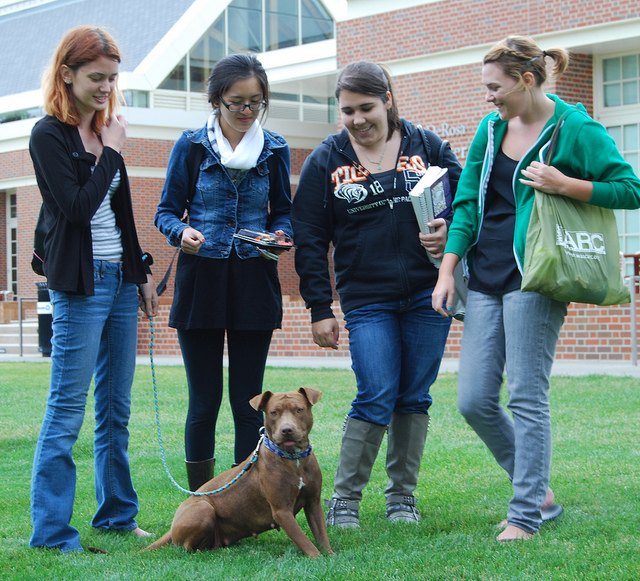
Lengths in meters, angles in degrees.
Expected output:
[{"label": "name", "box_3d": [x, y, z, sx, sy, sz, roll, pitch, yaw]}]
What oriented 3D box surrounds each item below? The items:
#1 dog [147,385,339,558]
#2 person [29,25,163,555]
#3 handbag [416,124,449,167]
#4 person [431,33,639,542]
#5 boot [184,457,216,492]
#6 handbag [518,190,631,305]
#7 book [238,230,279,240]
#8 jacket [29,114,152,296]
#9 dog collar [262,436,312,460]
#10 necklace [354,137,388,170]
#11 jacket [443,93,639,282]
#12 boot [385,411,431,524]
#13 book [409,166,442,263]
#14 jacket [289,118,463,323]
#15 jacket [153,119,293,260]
[{"label": "dog", "box_3d": [-0.324, 0.935, 4.287, 0.909, 0.861, 0.583, 0, 3, 6]}, {"label": "person", "box_3d": [-1.196, -0.014, 4.353, 0.401, 2.678, 0.710, 2, 4, 40]}, {"label": "handbag", "box_3d": [0.665, -0.862, 4.981, 0.161, 0.251, 0.242, 5, -2, 7]}, {"label": "person", "box_3d": [1.067, -0.032, 4.296, 0.508, 2.534, 0.891, -3, 4, -44]}, {"label": "boot", "box_3d": [-0.684, 1.034, 4.835, 0.185, 0.196, 0.131, -12, 27, -22]}, {"label": "handbag", "box_3d": [1.277, -0.242, 4.167, 0.572, 0.635, 0.196, 6, -18, -17]}, {"label": "book", "box_3d": [-0.321, -0.311, 4.596, 0.214, 0.054, 0.160, 1, 3, 31]}, {"label": "jacket", "box_3d": [-1.184, -0.437, 4.298, 0.562, 0.916, 0.378, -1, 3, -17]}, {"label": "dog collar", "box_3d": [-0.172, 0.801, 4.266, 0.252, 0.093, 0.123, 0, 3, 1]}, {"label": "necklace", "box_3d": [0.293, -0.781, 4.766, 0.178, 0.175, 0.044, -14, -3, -21]}, {"label": "jacket", "box_3d": [1.128, -0.540, 4.308, 0.980, 0.990, 0.426, 1, 3, 22]}, {"label": "boot", "box_3d": [0.510, 1.015, 4.870, 0.258, 0.622, 0.428, 0, 3, 6]}, {"label": "book", "box_3d": [0.573, -0.510, 4.629, 0.159, 0.384, 0.309, 1, 3, 23]}, {"label": "jacket", "box_3d": [0.387, -0.446, 4.901, 1.190, 1.054, 0.636, -9, 11, -7]}, {"label": "jacket", "box_3d": [-0.543, -0.603, 4.900, 0.844, 0.738, 0.417, -1, 11, -26]}]
